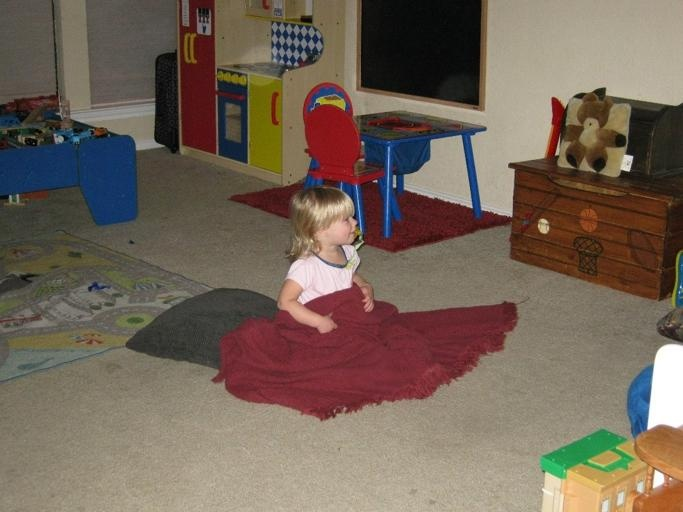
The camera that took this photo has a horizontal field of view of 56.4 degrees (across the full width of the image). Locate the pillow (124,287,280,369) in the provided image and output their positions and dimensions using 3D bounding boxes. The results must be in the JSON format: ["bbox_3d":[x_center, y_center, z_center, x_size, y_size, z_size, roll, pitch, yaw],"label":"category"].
[{"bbox_3d":[-0.675,0.332,3.083,0.358,0.061,0.428,12,24,22],"label":"pillow"}]

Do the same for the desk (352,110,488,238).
[{"bbox_3d":[0.467,-0.533,4.752,0.974,0.744,0.942,-11,26,-24],"label":"desk"}]
